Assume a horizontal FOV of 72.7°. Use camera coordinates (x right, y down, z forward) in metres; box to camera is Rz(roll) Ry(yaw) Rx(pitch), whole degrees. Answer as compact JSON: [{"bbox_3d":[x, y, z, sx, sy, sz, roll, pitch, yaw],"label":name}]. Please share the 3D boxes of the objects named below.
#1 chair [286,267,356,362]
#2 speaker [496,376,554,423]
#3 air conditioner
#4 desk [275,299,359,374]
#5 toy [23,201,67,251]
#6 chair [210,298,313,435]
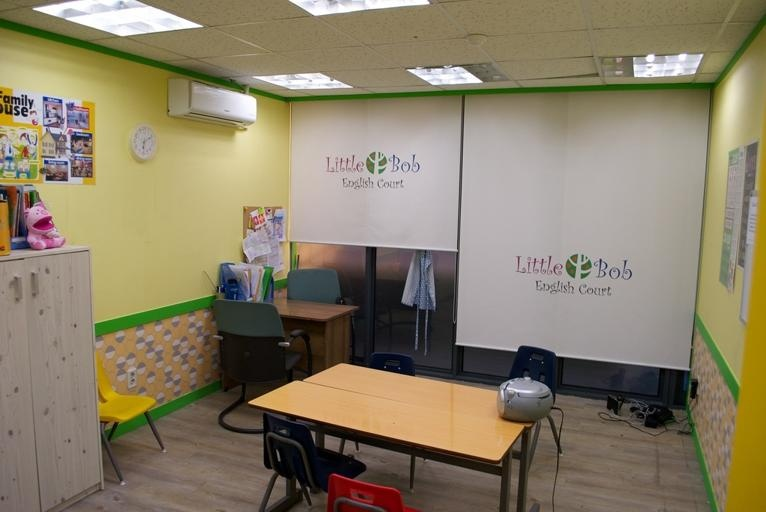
[{"bbox_3d":[-0.854,0.594,6.803,0.779,1.133,0.691,-2,-3,-7],"label":"chair"},{"bbox_3d":[1.054,1.048,3.866,0.322,0.225,0.343,3,2,40],"label":"speaker"},{"bbox_3d":[-1.812,-1.661,5.636,0.317,0.416,0.971,17,14,25],"label":"air conditioner"},{"bbox_3d":[-0.837,0.841,6.202,1.008,0.758,0.796,5,12,27],"label":"desk"},{"bbox_3d":[-2.681,-0.241,4.082,0.254,0.381,0.280,1,9,-3],"label":"toy"},{"bbox_3d":[-1.325,1.085,5.646,0.896,1.301,0.952,1,0,21],"label":"chair"}]
